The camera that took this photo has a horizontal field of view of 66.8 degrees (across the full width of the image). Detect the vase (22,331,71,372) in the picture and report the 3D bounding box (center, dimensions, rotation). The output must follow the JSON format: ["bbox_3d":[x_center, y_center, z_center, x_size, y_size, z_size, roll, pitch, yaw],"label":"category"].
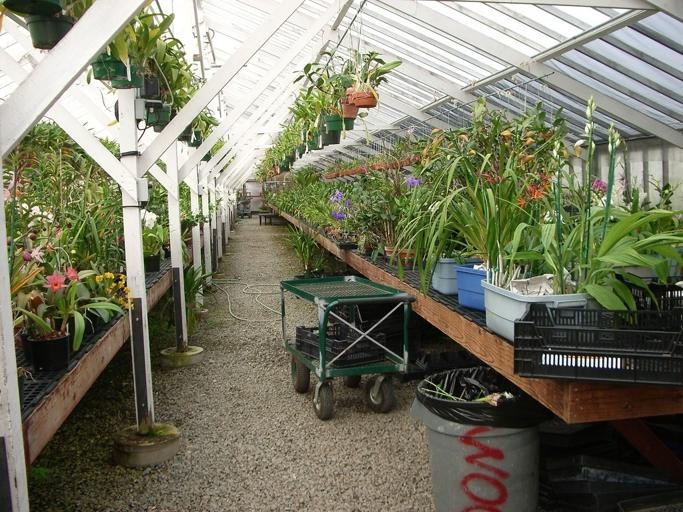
[{"bbox_3d":[-1.382,0.458,2.414,0.192,0.153,0.209,-1,2,37],"label":"vase"}]

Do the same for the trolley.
[{"bbox_3d":[-0.012,0.667,3.726,0.659,0.820,1.050,0,2,-17],"label":"trolley"}]

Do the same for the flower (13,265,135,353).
[{"bbox_3d":[-1.367,0.238,2.628,0.514,0.282,0.422,2,5,16],"label":"flower"}]
